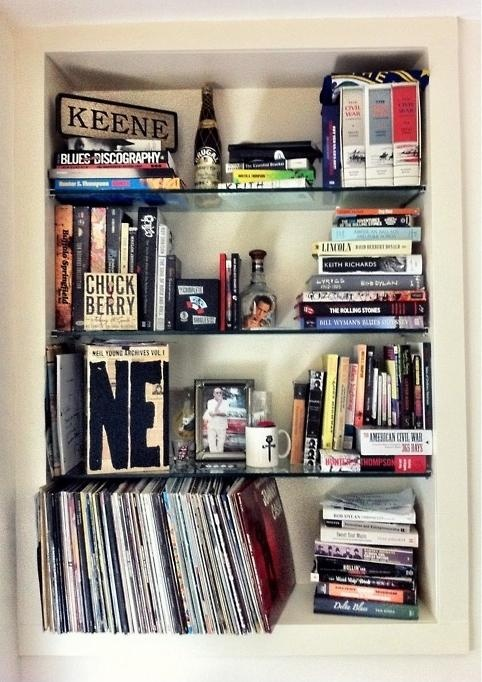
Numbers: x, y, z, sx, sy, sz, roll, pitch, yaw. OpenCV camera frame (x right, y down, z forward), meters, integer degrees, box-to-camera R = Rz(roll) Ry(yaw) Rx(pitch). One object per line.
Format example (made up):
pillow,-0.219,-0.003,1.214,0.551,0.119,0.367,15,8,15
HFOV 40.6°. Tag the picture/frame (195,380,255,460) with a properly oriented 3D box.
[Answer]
picture/frame,-0.045,0.222,1.764,0.215,0.277,0.042,0,-11,4

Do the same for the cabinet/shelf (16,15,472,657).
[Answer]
cabinet/shelf,0.069,-0.024,2.186,1.211,1.596,1.636,-3,3,1

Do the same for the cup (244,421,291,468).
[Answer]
cup,0.056,0.269,1.718,0.140,0.117,0.086,1,-3,-11
